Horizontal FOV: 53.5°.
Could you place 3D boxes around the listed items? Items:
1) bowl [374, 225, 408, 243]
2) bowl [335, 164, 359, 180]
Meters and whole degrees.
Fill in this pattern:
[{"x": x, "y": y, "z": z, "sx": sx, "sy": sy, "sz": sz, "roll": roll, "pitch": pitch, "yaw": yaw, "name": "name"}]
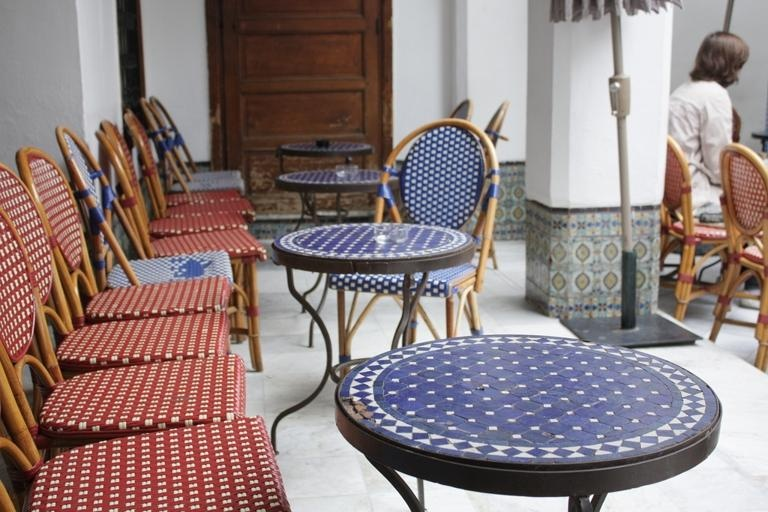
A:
[{"x": 0.032, "y": -0.094, "z": 3.325, "sx": 0.092, "sy": 0.045, "sz": 0.097, "roll": 2, "pitch": 13, "yaw": 0, "name": "bowl"}, {"x": -0.230, "y": -0.542, "z": 4.710, "sx": 0.128, "sy": 0.080, "sz": 0.132, "roll": -2, "pitch": 21, "yaw": 1, "name": "bowl"}]
